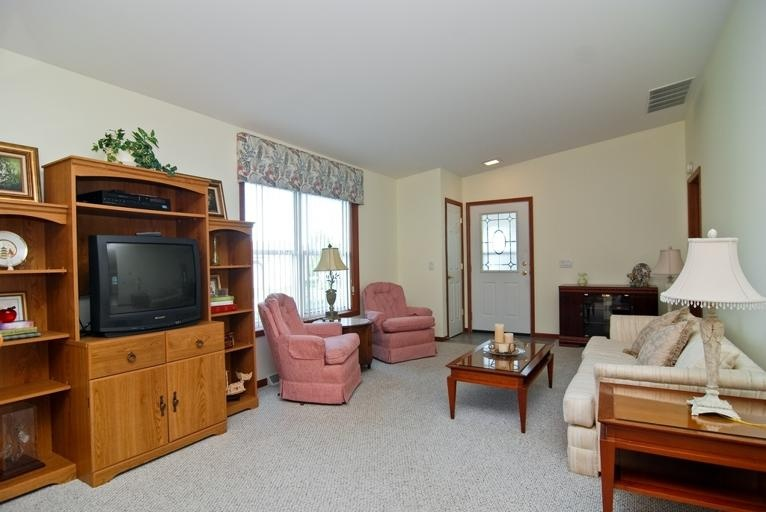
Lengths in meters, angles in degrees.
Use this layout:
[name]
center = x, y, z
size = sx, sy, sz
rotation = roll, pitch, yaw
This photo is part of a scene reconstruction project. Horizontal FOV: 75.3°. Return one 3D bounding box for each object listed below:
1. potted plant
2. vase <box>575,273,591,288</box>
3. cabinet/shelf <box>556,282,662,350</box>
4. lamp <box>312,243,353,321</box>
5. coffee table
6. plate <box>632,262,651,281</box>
[potted plant]
center = -2.219, -0.963, 4.411
size = 0.516, 0.201, 0.534
rotation = 17, 23, -36
[vase]
center = 2.997, 0.361, 7.412
size = 0.181, 0.266, 0.187
rotation = 4, -5, -31
[cabinet/shelf]
center = 3.215, 0.883, 7.174
size = 1.230, 0.930, 0.434
rotation = 1, 1, 27
[lamp]
center = -0.647, 0.341, 6.186
size = 0.414, 0.976, 0.407
rotation = -3, -1, -26
[coffee table]
center = 1.092, 1.097, 4.839
size = 0.686, 0.469, 1.126
rotation = -1, -1, 24
[plate]
center = 3.672, 0.221, 7.067
size = 0.251, 0.221, 0.265
rotation = 6, 14, 27
